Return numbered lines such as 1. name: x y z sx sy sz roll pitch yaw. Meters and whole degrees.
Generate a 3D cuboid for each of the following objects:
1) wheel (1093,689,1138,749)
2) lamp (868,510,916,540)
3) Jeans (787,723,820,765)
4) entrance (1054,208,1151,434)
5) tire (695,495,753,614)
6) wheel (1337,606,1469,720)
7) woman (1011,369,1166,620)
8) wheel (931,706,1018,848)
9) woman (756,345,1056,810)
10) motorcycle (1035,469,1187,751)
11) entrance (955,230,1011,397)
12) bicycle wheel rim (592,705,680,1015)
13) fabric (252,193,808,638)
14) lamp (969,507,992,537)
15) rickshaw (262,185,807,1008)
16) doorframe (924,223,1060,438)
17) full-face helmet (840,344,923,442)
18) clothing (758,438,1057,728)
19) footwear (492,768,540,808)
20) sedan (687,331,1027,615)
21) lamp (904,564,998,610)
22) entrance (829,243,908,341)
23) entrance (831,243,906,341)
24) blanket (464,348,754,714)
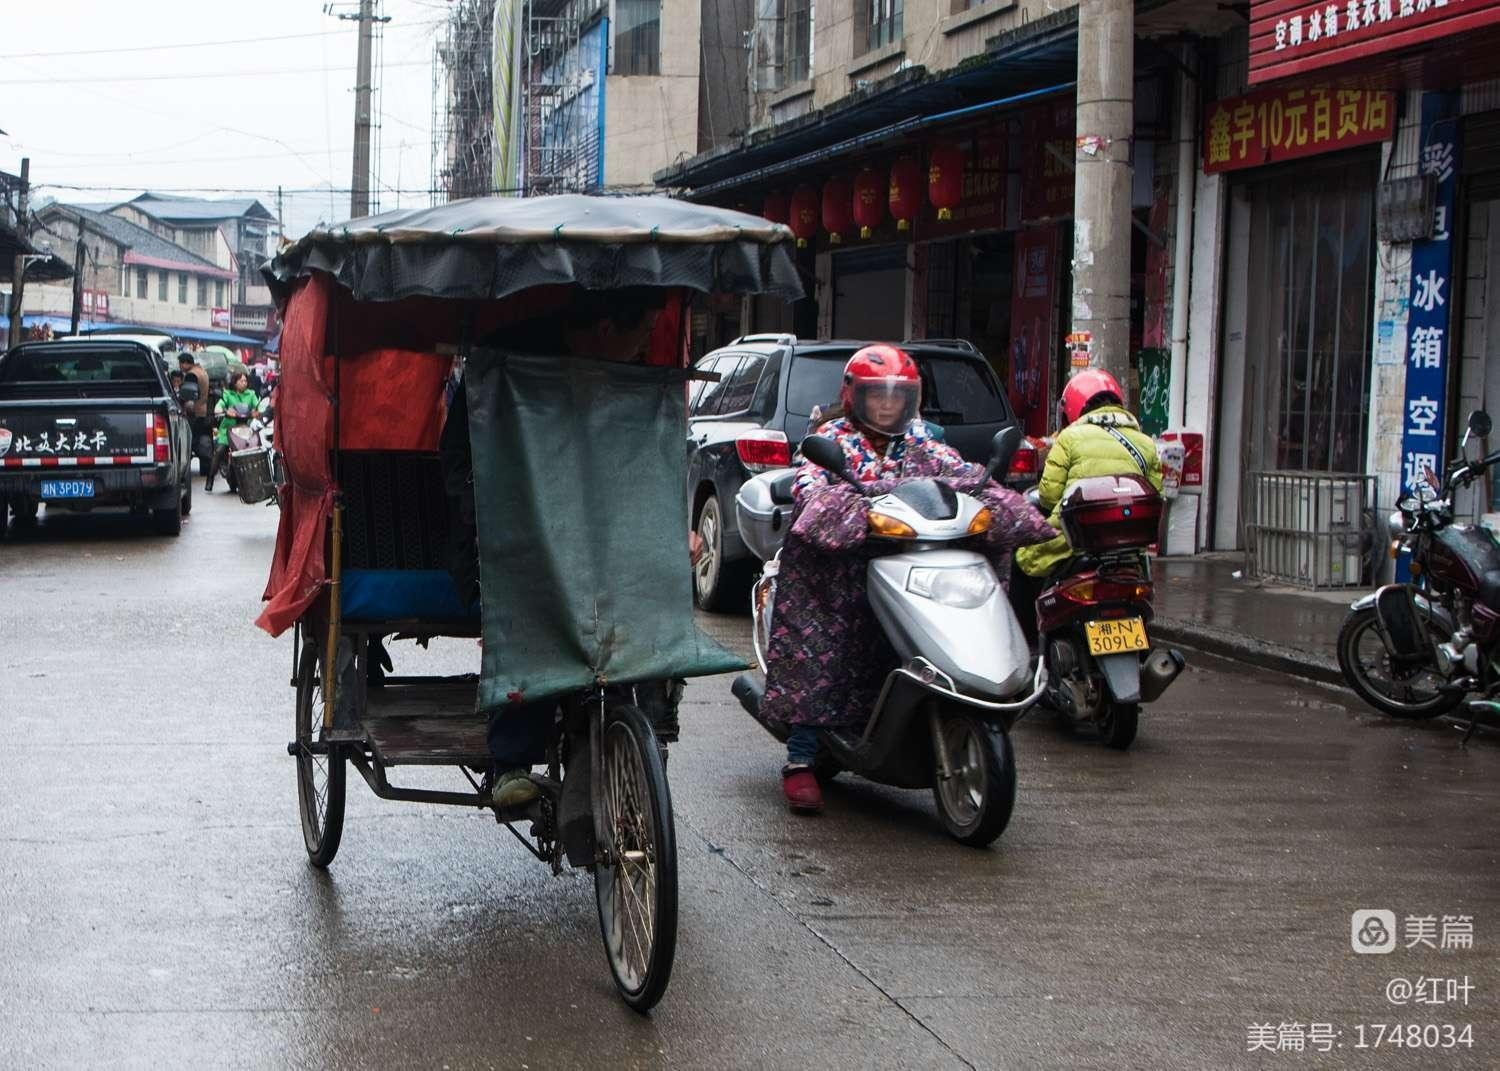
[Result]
1. wheel: 1.924 0.981 8.363 0.087 0.289 0.261 -5 11 -15
2. lamp: 0.600 -0.029 6.846 0.158 0.069 0.119 28 -1 -18
3. Jeans: 0.243 0.984 7.423 0.138 0.284 0.181 2 2 15
4. entrance: 2.695 -1.896 12.265 0.471 2.373 0.491 3 0 -37
5. tire: -0.220 0.155 12.519 0.295 1.014 0.952 4 22 -14
6. wheel: 3.709 0.756 9.141 0.138 0.794 0.716 -36 24 -29
7. woman: 1.902 -0.325 8.937 0.717 1.009 1.419 -1 -7 -10
8. wheel: 0.938 1.055 6.807 0.415 0.601 0.276 4 9 25
9. woman: 0.585 0.330 7.004 1.010 1.769 2.238 -1 4 -19
10. motorcycle: 1.855 0.424 8.301 0.758 1.476 0.562 4 9 24
11. entrance: 3.017 -2.544 20.047 0.968 2.047 0.182 -10 8 -35
12. bicycle wheel rim: -0.406 1.092 5.317 0.165 0.994 0.636 -2 8 -20
13. fabric: -0.898 -0.627 6.118 1.783 1.567 1.672 2 4 -7
14. lamp: 1.003 -0.044 6.947 0.118 0.051 0.084 -43 -12 19
15. rickshaw: -1.024 0.110 6.432 1.551 2.809 3.314 -2 6 -30
16. doorframe: 2.702 -2.444 20.122 0.124 2.703 3.443 -5 2 -33
17. full-face helmet: 0.567 -0.654 7.185 0.320 0.387 0.414 1 8 -28
18. clothing: 0.717 0.241 6.911 0.800 1.163 1.600 2 0 -19
19. footwear: -0.832 0.919 5.633 0.160 0.125 0.123 -1 8 -8
20. sedan: 0.593 -0.542 14.098 2.568 2.488 5.575 -2 7 -16
21. lamp: 0.878 0.235 6.832 0.198 0.141 0.271 5 -1 -28
22. entrance: 1.608 -3.363 22.693 0.103 1.305 1.907 -5 10 -39
23. entrance: 1.596 -3.373 22.704 0.162 1.278 1.954 -2 9 -39
24. blanket: -0.515 -0.011 5.578 0.979 1.366 0.147 -4 31 -7
